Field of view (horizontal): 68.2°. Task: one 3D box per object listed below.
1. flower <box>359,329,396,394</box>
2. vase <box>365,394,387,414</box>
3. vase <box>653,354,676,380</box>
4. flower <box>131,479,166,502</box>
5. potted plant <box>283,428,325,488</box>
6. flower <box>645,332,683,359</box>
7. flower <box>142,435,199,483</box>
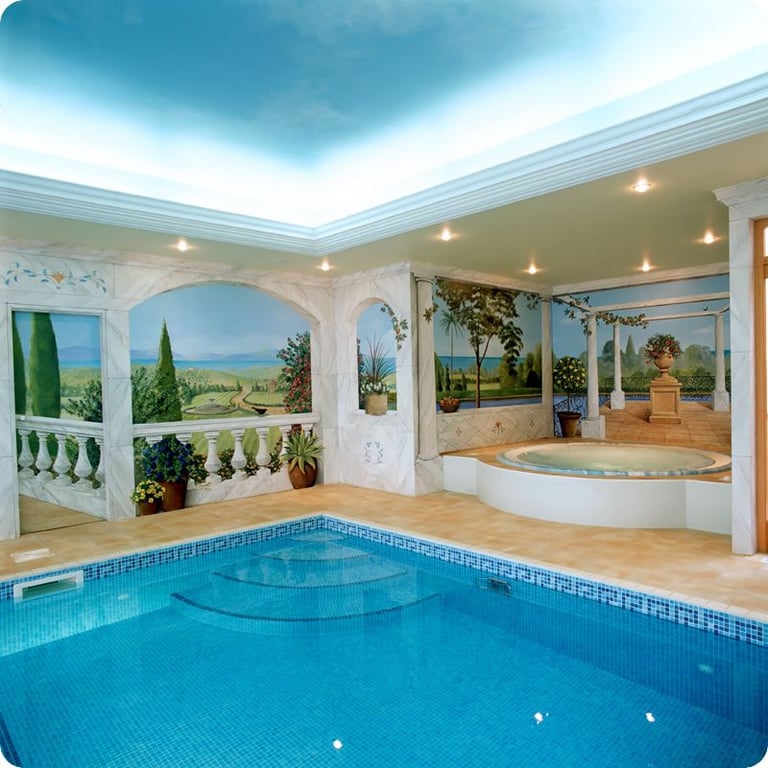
[{"bbox_3d":[-0.136,-0.269,8.390,0.806,1.070,0.696,0,-2,-4],"label":"flower"},{"bbox_3d":[-0.111,0.304,7.974,0.310,0.280,0.251,0,-1,7],"label":"vase"},{"bbox_3d":[4.334,-0.265,8.715,0.342,0.452,0.319,-3,-3,40],"label":"vase"},{"bbox_3d":[-2.766,1.264,6.642,0.264,0.215,0.265,-6,-7,40],"label":"flower"},{"bbox_3d":[-1.277,1.139,8.416,0.802,0.861,0.766,2,-6,-29],"label":"potted plant"},{"bbox_3d":[4.289,-0.581,8.695,0.369,0.254,0.361,-1,-4,30],"label":"flower"},{"bbox_3d":[-2.625,0.928,6.943,0.583,0.536,0.587,-7,-9,40],"label":"flower"}]
